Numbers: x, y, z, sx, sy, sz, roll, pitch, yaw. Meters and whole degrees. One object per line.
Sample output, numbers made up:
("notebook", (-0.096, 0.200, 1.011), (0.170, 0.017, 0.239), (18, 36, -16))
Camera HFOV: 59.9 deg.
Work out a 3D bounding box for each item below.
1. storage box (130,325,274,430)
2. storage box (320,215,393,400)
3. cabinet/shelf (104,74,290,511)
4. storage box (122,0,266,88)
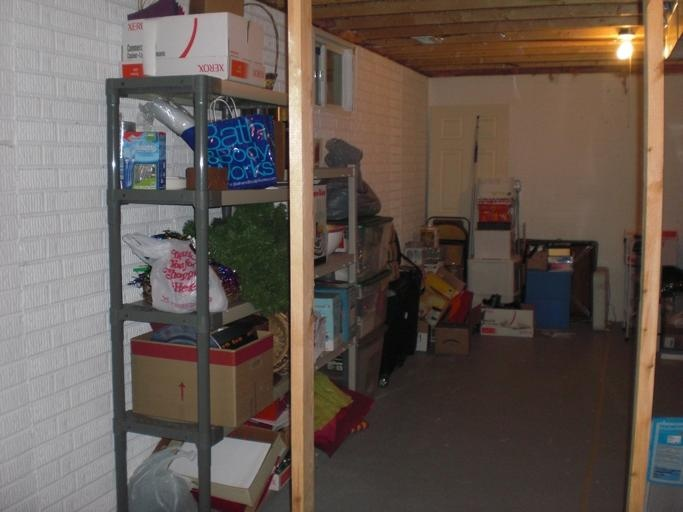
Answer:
("storage box", (-0.732, 0.551, 3.128), (0.519, 0.335, 0.529), (5, 9, 19))
("storage box", (0.119, 0.453, 5.053), (0.462, 1.504, 1.427), (3, 11, 14))
("cabinet/shelf", (-0.827, 0.233, 3.158), (0.766, 2.283, 0.623), (4, 11, 21))
("storage box", (-0.730, -1.005, 2.988), (0.571, 0.291, 0.492), (3, 6, 31))
